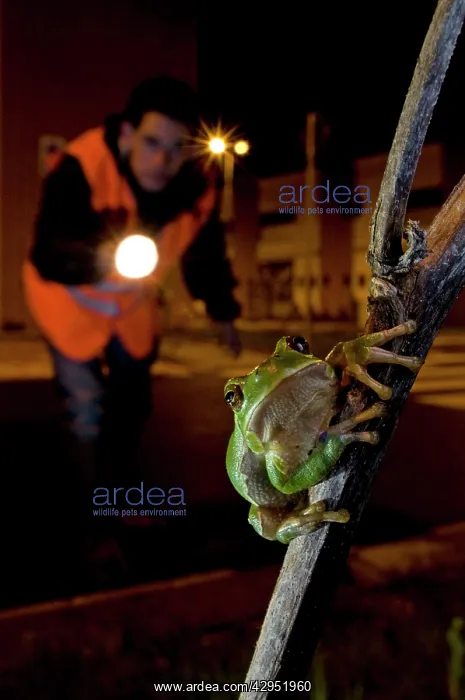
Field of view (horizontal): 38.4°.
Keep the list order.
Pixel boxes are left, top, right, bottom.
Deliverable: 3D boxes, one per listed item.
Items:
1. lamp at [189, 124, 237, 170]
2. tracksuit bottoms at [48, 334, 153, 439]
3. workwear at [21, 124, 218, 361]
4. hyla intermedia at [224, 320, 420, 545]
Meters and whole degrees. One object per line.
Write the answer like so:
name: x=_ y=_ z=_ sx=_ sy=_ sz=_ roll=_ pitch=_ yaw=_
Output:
lamp: x=-0.080 y=-0.835 z=2.724 sx=0.146 sy=0.143 sz=0.057 roll=-16 pitch=26 yaw=-33
tracksuit bottoms: x=-0.529 y=0.137 z=2.700 sx=0.362 sy=0.418 sz=0.248 roll=-12 pitch=45 yaw=-12
workwear: x=-0.464 y=-0.414 z=2.715 sx=0.365 sy=0.897 sz=0.707 roll=19 pitch=26 yaw=23
hyla intermedia: x=0.129 y=0.146 z=1.198 sx=0.323 sy=0.432 sz=0.199 roll=13 pitch=25 yaw=13
